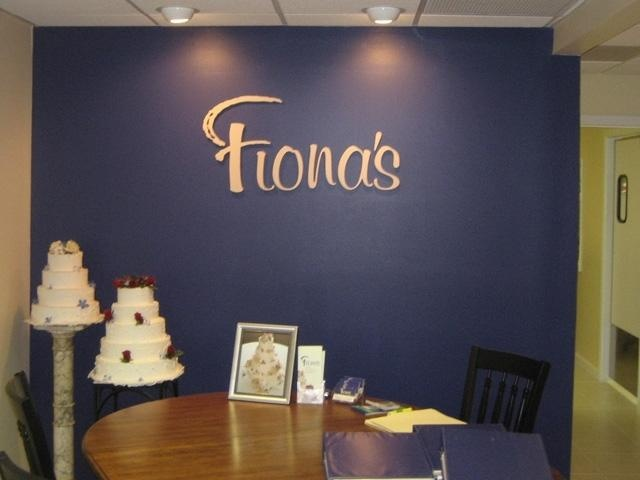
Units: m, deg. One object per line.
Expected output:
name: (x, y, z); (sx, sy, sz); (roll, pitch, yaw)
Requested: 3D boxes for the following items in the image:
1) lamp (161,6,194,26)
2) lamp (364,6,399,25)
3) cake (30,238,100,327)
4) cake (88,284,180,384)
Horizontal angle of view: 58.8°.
lamp: (-0.956, -1.524, 3.802); (0.224, 0.089, 0.156); (-9, 13, -15)
lamp: (0.421, -1.510, 3.783); (0.247, 0.095, 0.212); (-9, 13, -16)
cake: (-1.669, 0.286, 4.021); (0.530, 0.577, 0.532); (1, -2, -11)
cake: (-1.151, 0.617, 3.775); (0.583, 0.545, 0.609); (3, 7, 19)
